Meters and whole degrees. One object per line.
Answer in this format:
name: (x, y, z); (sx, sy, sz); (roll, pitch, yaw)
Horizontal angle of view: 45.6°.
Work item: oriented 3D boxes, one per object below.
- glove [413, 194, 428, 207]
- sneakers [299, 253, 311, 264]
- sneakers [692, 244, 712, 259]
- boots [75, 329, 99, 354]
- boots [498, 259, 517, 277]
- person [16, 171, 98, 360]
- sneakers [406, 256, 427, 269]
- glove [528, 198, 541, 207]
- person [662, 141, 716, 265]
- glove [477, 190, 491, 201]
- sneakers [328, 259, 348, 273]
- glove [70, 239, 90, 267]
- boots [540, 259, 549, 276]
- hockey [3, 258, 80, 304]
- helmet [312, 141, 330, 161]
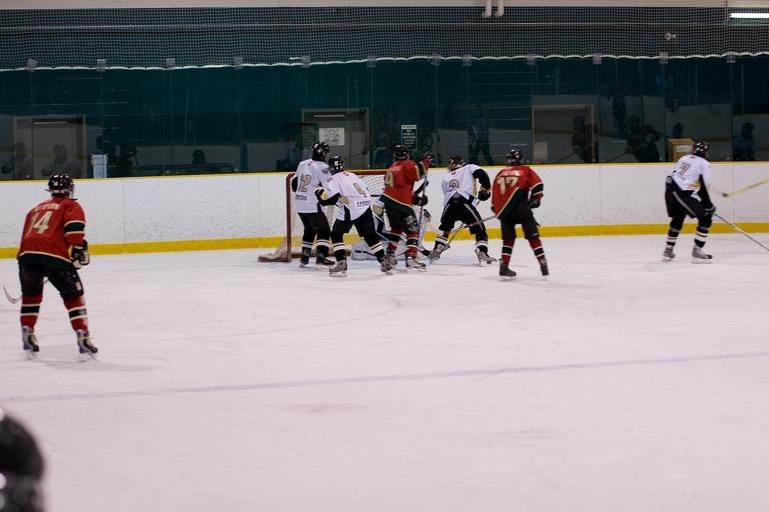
glove: (0.447, -0.705, 11.643); (0.155, 0.081, 0.193); (2, 2, -14)
sneakers: (-1.048, 0.050, 11.950); (0.118, 0.140, 0.066); (7, 20, -8)
sneakers: (3.935, -0.041, 11.264); (0.283, 0.150, 0.149); (-2, 5, 4)
boots: (-2.325, 0.673, 7.146); (0.143, 0.225, 0.211); (-6, 12, -18)
boots: (1.353, 0.129, 10.138); (0.173, 0.236, 0.222); (-1, 11, 6)
person: (-2.635, 0.081, 7.219); (0.580, 1.383, 0.750); (-6, 12, -18)
sneakers: (0.370, 0.087, 11.083); (0.227, 0.167, 0.167); (-2, 11, 0)
glove: (1.649, -0.573, 9.992); (0.095, 0.098, 0.110); (2, -36, -27)
person: (3.759, -0.654, 11.293); (0.597, 1.434, 0.571); (1, 12, 17)
glove: (1.214, -0.752, 11.230); (0.117, 0.111, 0.133); (6, 16, 8)
sneakers: (-0.556, 0.125, 10.794); (0.202, 0.178, 0.210); (-3, 11, -7)
glove: (-2.420, -0.007, 7.252); (0.132, 0.247, 0.306); (-7, 12, -21)
boots: (1.731, 0.121, 9.951); (0.092, 0.221, 0.107); (-3, -3, 12)
hockey: (-2.905, 0.225, 7.784); (0.474, 0.407, 0.134); (5, 14, 7)
helmet: (-0.805, -1.301, 11.542); (0.228, 0.219, 0.248); (3, -7, -3)
